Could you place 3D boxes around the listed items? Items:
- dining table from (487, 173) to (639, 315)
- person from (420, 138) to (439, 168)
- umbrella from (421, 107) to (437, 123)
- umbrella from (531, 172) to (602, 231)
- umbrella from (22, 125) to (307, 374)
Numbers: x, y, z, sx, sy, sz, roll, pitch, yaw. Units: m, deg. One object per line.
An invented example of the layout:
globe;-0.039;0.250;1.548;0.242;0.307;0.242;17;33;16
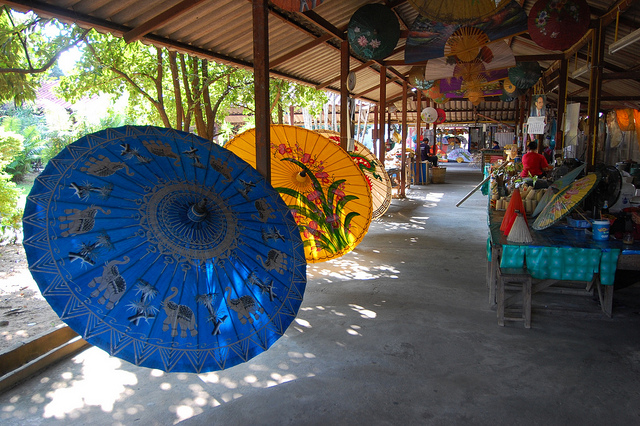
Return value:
dining table;2.712;0.468;4.643;1.297;1.434;1.856;4;32;20
person;4.364;-2.453;16.227;0.565;1.174;1.428;-1;7;15
umbrella;3.666;-3.319;13.570;0.508;0.549;0.582;-1;7;13
umbrella;2.534;-0.068;4.185;0.577;0.636;0.413;2;8;33
umbrella;-1.068;0.231;2.936;1.740;1.759;0.718;-4;7;-8
